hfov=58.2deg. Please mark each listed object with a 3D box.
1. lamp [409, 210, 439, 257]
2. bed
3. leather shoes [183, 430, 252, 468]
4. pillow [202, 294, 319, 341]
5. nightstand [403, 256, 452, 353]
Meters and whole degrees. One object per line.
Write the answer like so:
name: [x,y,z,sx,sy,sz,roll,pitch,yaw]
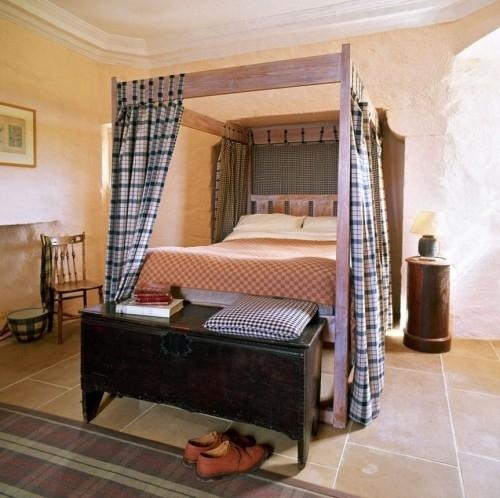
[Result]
lamp: [1.481,-0.126,3.854,0.226,0.408,0.303,5,12,22]
bed: [-0.176,0.074,3.851,2.756,2.685,2.041,1,1,17]
leather shoes: [-0.186,1.053,2.466,0.272,0.087,0.172,-3,-1,-37]
pillow: [0.072,0.377,2.644,0.549,0.117,0.493,4,11,19]
nightstand: [1.525,0.485,3.875,0.386,0.782,0.207,5,12,20]
